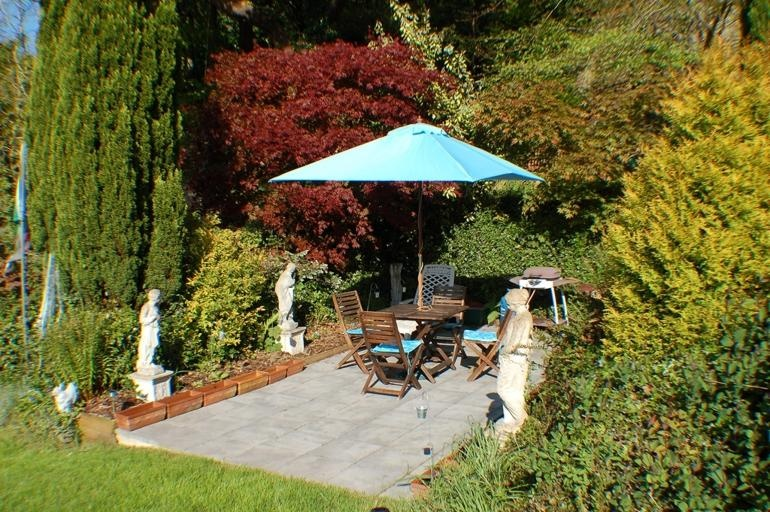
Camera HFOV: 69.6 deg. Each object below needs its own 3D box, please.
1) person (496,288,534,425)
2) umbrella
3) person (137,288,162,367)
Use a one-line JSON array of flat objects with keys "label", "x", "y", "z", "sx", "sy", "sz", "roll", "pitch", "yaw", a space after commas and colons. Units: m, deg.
[{"label": "person", "x": 1.464, "y": 1.218, "z": 6.283, "sx": 0.364, "sy": 1.629, "sz": 0.638, "roll": 1, "pitch": 12, "yaw": 12}, {"label": "umbrella", "x": 0.282, "y": -1.181, "z": 9.520, "sx": 3.284, "sy": 2.266, "sz": 3.432, "roll": -1, "pitch": 7, "yaw": -5}, {"label": "person", "x": -3.425, "y": 1.086, "z": 8.031, "sx": 0.399, "sy": 1.153, "sz": 0.217, "roll": -7, "pitch": 12, "yaw": -24}]
